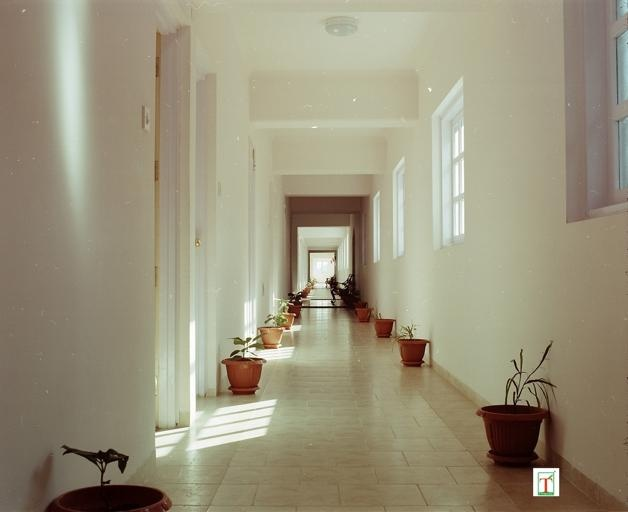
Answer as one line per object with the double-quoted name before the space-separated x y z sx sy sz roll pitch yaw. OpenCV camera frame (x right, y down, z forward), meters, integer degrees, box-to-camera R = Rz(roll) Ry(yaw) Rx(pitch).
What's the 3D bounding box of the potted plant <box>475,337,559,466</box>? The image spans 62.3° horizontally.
"potted plant" 1.000 0.707 2.552 0.389 0.587 0.293 -7 -10 42
